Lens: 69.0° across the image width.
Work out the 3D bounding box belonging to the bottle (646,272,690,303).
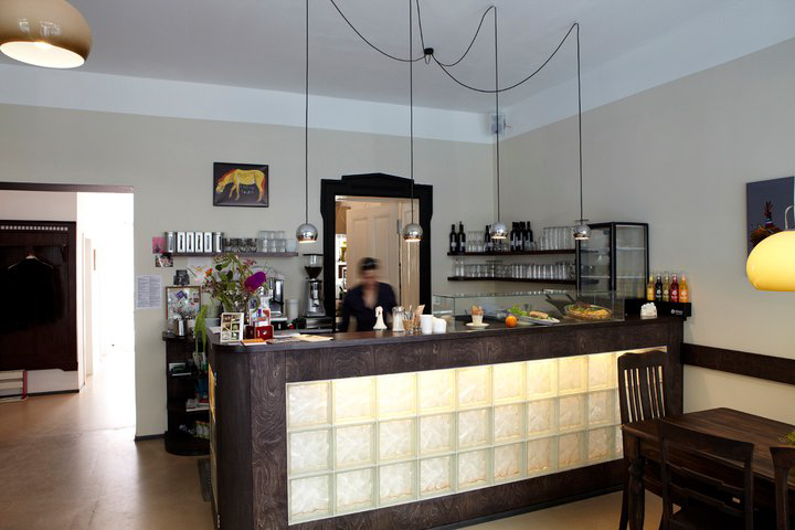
[{"bbox_3d":[2.929,0.254,6.272,0.100,0.309,0.304,-2,3,-37],"label":"bottle"}]

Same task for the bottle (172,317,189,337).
[{"bbox_3d":[-2.610,0.757,6.981,0.207,0.207,0.167,1,-3,11],"label":"bottle"}]

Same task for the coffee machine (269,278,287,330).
[{"bbox_3d":[-1.514,0.468,7.316,0.212,0.587,0.461,-2,9,-13],"label":"coffee machine"}]

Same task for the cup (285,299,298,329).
[{"bbox_3d":[-1.339,0.615,7.323,0.142,0.282,0.308,-2,9,-13],"label":"cup"}]

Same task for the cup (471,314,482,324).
[{"bbox_3d":[0.760,0.530,5.593,0.080,0.071,0.082,-1,-2,0],"label":"cup"}]

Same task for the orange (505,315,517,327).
[{"bbox_3d":[1.103,0.551,5.664,0.098,0.111,0.104,-7,7,-5],"label":"orange"}]

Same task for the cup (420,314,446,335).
[{"bbox_3d":[0.324,0.570,5.462,0.209,0.160,0.146,3,-7,-17],"label":"cup"}]

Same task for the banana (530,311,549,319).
[{"bbox_3d":[1.396,0.499,5.757,0.152,0.054,0.078,14,21,16],"label":"banana"}]

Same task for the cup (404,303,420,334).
[{"bbox_3d":[0.149,0.514,5.553,0.141,0.215,0.299,2,9,14],"label":"cup"}]

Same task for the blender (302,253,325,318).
[{"bbox_3d":[-1.091,0.266,7.509,0.269,0.795,0.371,-1,9,-9],"label":"blender"}]

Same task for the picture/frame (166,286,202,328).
[{"bbox_3d":[-2.651,0.530,7.123,0.467,0.582,0.036,1,-3,-18],"label":"picture/frame"}]

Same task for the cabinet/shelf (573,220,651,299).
[{"bbox_3d":[2.420,-0.068,6.557,0.801,0.832,0.356,3,9,18],"label":"cabinet/shelf"}]

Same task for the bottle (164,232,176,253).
[{"bbox_3d":[-2.790,-0.269,7.142,0.109,0.243,0.086,-3,9,-18],"label":"bottle"}]

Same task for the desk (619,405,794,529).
[{"bbox_3d":[2.613,1.460,4.725,1.106,1.119,1.128,1,-1,-29],"label":"desk"}]

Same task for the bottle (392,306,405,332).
[{"bbox_3d":[0.008,0.525,5.483,0.115,0.209,0.090,-1,9,-7],"label":"bottle"}]
